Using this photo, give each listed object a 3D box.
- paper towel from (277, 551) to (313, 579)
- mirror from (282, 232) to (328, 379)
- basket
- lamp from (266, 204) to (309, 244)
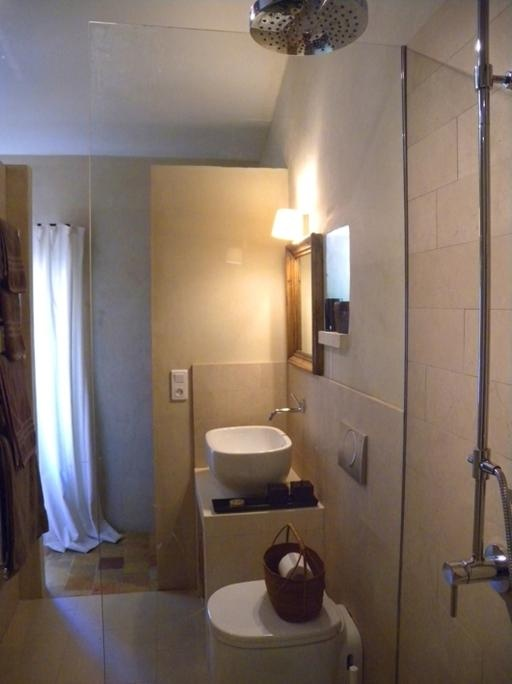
[{"bbox_3d":[0.095,0.557,1.394,0.056,0.064,0.054,1,-1,-34],"label":"paper towel"},{"bbox_3d":[0.127,-0.092,1.426,0.110,0.352,0.018,1,5,30],"label":"mirror"},{"bbox_3d":[0.098,0.584,1.462,0.109,0.230,0.198,0,-1,-2],"label":"basket"},{"bbox_3d":[0.089,-0.300,1.438,0.069,0.075,0.088,14,18,-16],"label":"lamp"}]
